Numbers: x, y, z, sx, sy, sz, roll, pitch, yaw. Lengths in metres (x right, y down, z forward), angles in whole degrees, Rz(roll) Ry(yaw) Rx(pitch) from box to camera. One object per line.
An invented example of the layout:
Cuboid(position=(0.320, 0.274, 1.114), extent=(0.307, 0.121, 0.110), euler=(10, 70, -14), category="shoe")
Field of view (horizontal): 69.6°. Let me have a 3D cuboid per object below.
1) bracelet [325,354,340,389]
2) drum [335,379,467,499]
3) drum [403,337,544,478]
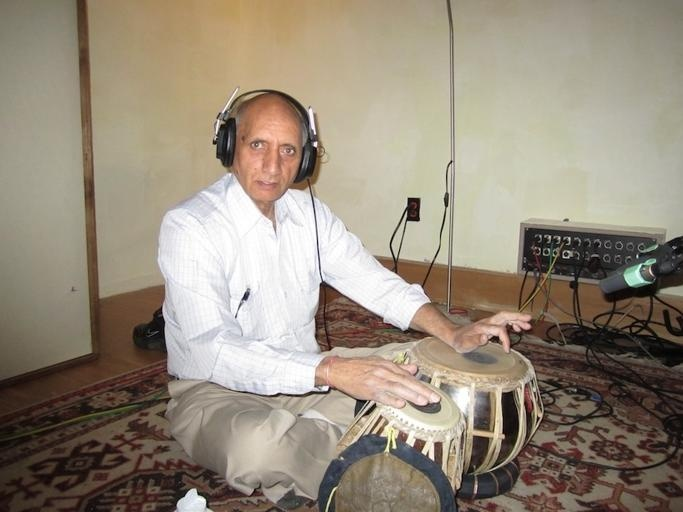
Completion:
Cuboid(position=(-0.036, 0.382, 1.632), extent=(0.067, 0.045, 0.092), euler=(9, 51, -2), category="bracelet")
Cuboid(position=(0.228, 0.506, 1.613), extent=(0.359, 0.344, 0.331), euler=(37, -10, -19), category="drum")
Cuboid(position=(0.489, 0.507, 1.782), extent=(0.428, 0.452, 0.313), euler=(17, 51, 10), category="drum")
